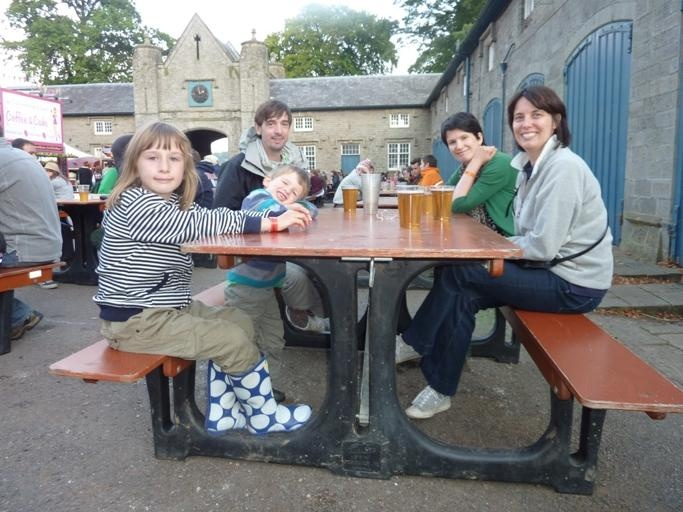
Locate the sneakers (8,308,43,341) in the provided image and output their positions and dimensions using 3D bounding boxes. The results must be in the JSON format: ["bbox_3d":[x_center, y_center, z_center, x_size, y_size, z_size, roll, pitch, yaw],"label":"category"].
[{"bbox_3d":[-2.750,0.602,4.830,0.240,0.085,0.192,-43,-3,-16],"label":"sneakers"}]

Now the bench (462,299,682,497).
[{"bbox_3d":[1.305,0.789,3.296,0.672,0.807,1.384,-1,11,-2],"label":"bench"}]

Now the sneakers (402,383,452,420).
[{"bbox_3d":[0.571,0.926,3.572,0.408,0.164,0.146,-2,3,-42],"label":"sneakers"}]

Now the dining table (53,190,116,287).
[{"bbox_3d":[-3.236,-0.240,7.034,0.882,0.954,0.938,9,8,38],"label":"dining table"}]
